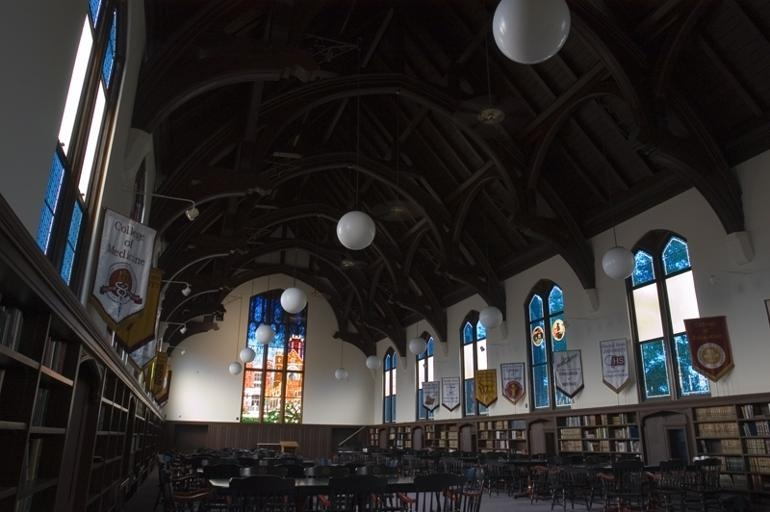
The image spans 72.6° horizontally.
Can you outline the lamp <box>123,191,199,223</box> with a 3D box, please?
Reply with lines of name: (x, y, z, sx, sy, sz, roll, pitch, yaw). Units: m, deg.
lamp: (-4.713, -1.055, 10.932, 0.870, 0.921, 0.289, 3, -59, -29)
